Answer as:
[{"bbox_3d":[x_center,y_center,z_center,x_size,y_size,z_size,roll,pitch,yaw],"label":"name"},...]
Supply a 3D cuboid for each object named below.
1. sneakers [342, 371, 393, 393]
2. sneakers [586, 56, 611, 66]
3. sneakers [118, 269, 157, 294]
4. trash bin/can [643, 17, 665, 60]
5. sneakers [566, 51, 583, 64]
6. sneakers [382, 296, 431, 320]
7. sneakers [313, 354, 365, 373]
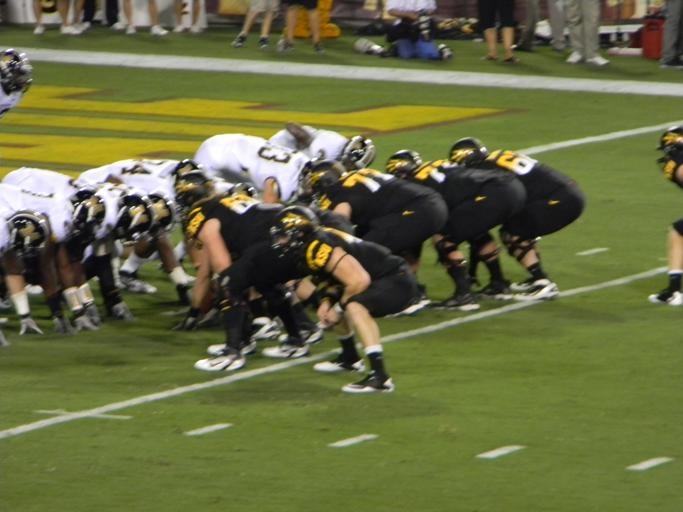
[{"bbox_3d":[0.183,0.810,5.712,0.395,0.085,0.114,0,-1,3],"label":"sneakers"},{"bbox_3d":[4.609,-3.484,16.317,0.408,0.105,0.200,11,27,31],"label":"sneakers"},{"bbox_3d":[-1.828,0.234,8.007,0.534,0.146,0.134,7,28,14],"label":"sneakers"},{"bbox_3d":[5.882,-4.069,17.076,0.363,0.787,0.658,1,10,15],"label":"trash bin/can"},{"bbox_3d":[4.238,-3.553,16.453,0.179,0.134,0.455,2,3,23],"label":"sneakers"},{"bbox_3d":[0.590,0.402,7.176,0.425,0.133,0.119,-15,-18,-26],"label":"sneakers"},{"bbox_3d":[-0.009,0.745,6.158,0.408,0.089,0.108,2,-2,-3],"label":"sneakers"}]
